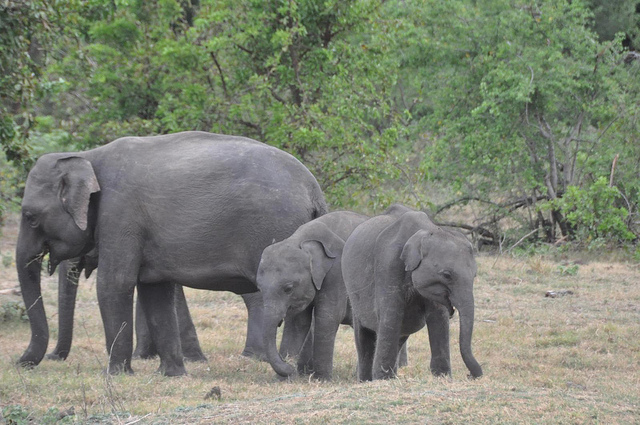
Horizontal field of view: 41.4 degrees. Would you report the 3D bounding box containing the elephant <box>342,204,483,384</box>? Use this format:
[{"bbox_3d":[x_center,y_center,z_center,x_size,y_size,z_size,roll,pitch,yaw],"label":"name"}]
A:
[{"bbox_3d":[1.159,1.216,11.262,1.209,2.301,2.853,0,-1,-29],"label":"elephant"}]
